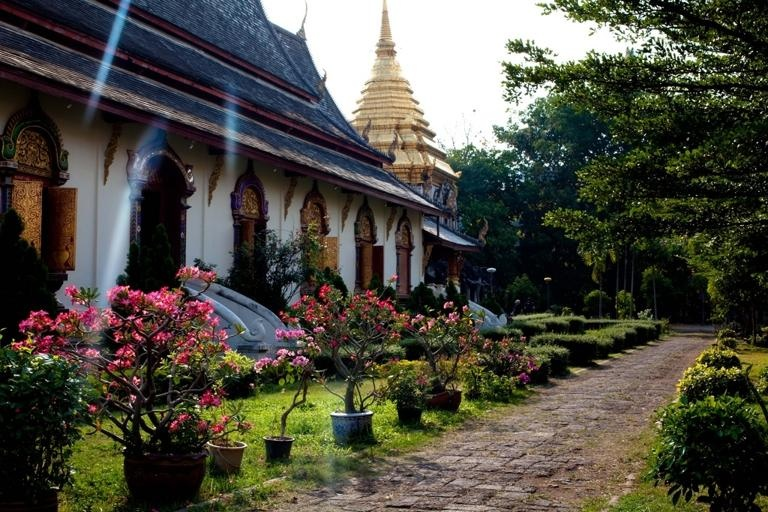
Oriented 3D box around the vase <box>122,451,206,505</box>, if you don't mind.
[{"bbox_3d":[-2.575,2.571,8.824,0.616,0.430,0.658,0,-8,0],"label":"vase"}]
